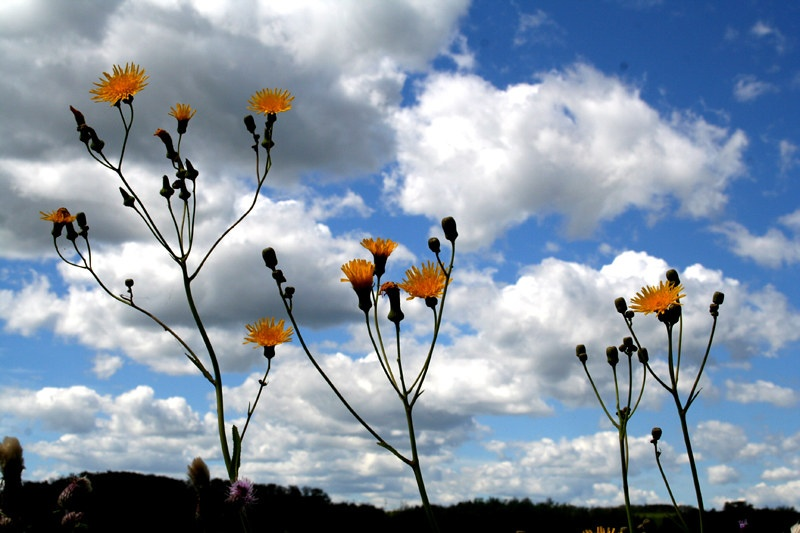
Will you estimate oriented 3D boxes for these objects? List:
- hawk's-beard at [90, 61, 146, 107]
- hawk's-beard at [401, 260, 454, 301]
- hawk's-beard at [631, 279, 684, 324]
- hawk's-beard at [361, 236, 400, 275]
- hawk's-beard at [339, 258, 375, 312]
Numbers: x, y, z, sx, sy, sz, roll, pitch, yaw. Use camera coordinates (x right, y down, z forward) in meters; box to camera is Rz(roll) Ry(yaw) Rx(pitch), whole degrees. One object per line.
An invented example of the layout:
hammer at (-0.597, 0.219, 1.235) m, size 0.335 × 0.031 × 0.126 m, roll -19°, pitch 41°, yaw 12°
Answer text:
hawk's-beard at (-4.408, -2.831, 13.572) m, size 0.966 × 0.530 × 0.986 m, roll 7°, pitch 6°, yaw 19°
hawk's-beard at (0.393, 0.209, 12.247) m, size 0.710 × 0.614 × 0.743 m, roll 5°, pitch 7°, yaw 22°
hawk's-beard at (3.964, 0.445, 13.183) m, size 0.690 × 0.374 × 0.783 m, roll -1°, pitch 9°, yaw 7°
hawk's-beard at (-0.279, -0.101, 12.128) m, size 0.549 × 0.554 × 0.556 m, roll 5°, pitch 5°, yaw 17°
hawk's-beard at (-0.461, 0.152, 10.139) m, size 0.364 × 0.517 × 0.381 m, roll -18°, pitch -35°, yaw 1°
